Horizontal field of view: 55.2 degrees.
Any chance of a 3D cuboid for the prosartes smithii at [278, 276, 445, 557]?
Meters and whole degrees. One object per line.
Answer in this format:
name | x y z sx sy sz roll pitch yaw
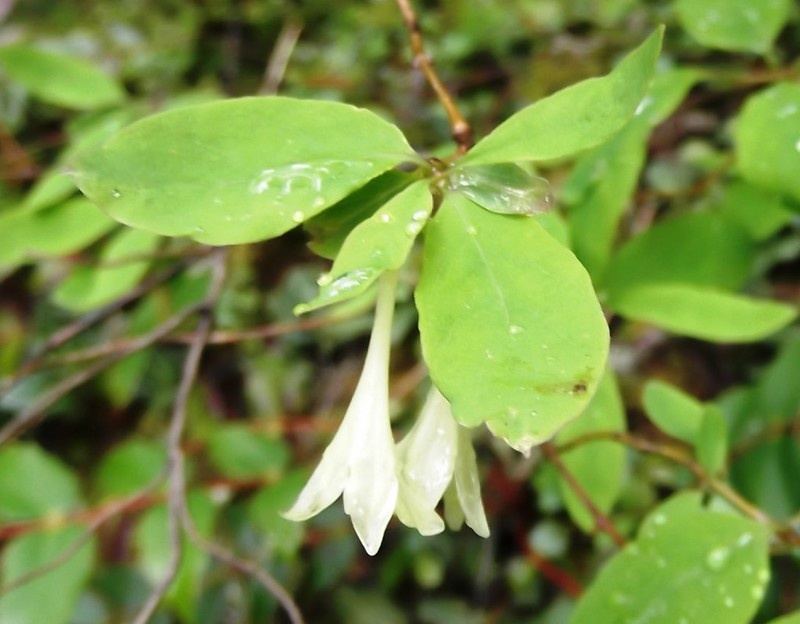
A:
prosartes smithii | -0.033 0.087 0.614 0.107 0.039 0.232 8 85 -1
